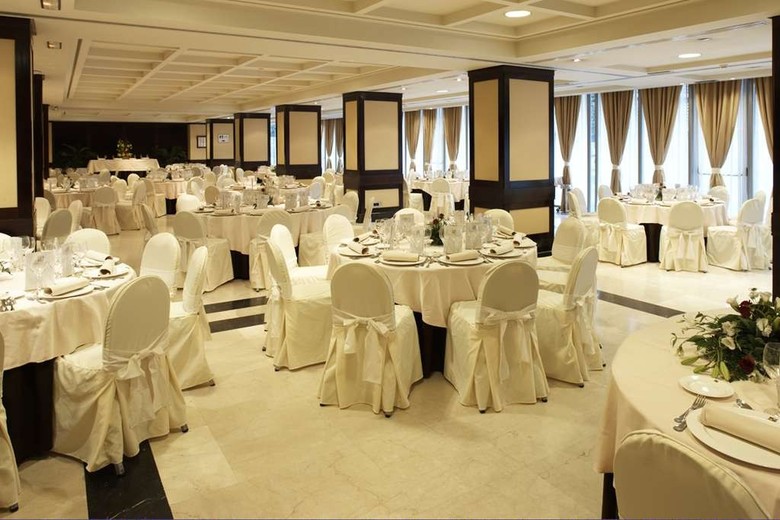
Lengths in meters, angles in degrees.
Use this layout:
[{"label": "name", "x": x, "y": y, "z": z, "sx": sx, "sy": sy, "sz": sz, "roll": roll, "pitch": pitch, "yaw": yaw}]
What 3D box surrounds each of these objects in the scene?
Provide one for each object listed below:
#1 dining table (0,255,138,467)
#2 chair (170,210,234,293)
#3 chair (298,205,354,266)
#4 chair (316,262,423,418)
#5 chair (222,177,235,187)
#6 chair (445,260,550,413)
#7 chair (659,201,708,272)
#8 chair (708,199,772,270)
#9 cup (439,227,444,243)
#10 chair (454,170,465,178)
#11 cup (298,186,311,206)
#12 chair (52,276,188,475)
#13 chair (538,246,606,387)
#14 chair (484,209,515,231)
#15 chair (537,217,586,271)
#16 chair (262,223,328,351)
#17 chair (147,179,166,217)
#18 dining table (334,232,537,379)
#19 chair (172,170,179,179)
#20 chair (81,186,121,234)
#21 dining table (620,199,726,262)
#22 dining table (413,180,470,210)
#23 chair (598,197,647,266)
[{"label": "dining table", "x": -2.596, "y": 0.749, "z": 4.366, "sx": 1.058, "sy": 0.933, "sz": 1.089, "roll": -3, "pitch": 9, "yaw": -22}, {"label": "chair", "x": -2.783, "y": -0.241, "z": 7.869, "sx": 0.811, "sy": 1.219, "sz": 0.878, "roll": -11, "pitch": 19, "yaw": -32}, {"label": "chair", "x": -0.930, "y": -0.327, "z": 7.333, "sx": 0.653, "sy": 1.011, "sz": 0.532, "roll": -9, "pitch": 20, "yaw": -40}, {"label": "chair", "x": -0.137, "y": 0.568, "z": 4.804, "sx": 0.815, "sy": 1.367, "sz": 0.930, "roll": 8, "pitch": 18, "yaw": 19}, {"label": "chair", "x": -4.177, "y": -2.012, "z": 13.637, "sx": 0.281, "sy": 0.418, "sz": 0.382, "roll": -4, "pitch": 6, "yaw": -26}, {"label": "chair", "x": 0.954, "y": 0.587, "z": 4.806, "sx": 0.810, "sy": 1.321, "sz": 0.883, "roll": -8, "pitch": 16, "yaw": -16}, {"label": "chair", "x": 4.730, "y": -0.496, "z": 8.484, "sx": 0.711, "sy": 1.177, "sz": 0.787, "roll": -2, "pitch": 19, "yaw": 22}, {"label": "chair", "x": 5.610, "y": -0.450, "z": 8.498, "sx": 0.636, "sy": 1.113, "sz": 0.741, "roll": -5, "pitch": 5, "yaw": -20}, {"label": "cup", "x": 0.527, "y": -0.277, "z": 5.468, "sx": 0.051, "sy": 0.059, "sz": 0.155, "roll": 13, "pitch": -21, "yaw": 5}, {"label": "chair", "x": 2.082, "y": -2.571, "z": 15.644, "sx": 0.266, "sy": 0.230, "sz": 0.290, "roll": 2, "pitch": 5, "yaw": 19}, {"label": "cup", "x": -1.446, "y": -1.066, "z": 8.843, "sx": 0.150, "sy": 0.268, "sz": 0.382, "roll": -1, "pitch": 15, "yaw": 0}, {"label": "chair", "x": -2.169, "y": 0.735, "z": 4.181, "sx": 0.976, "sy": 1.417, "sz": 1.030, "roll": 0, "pitch": 11, "yaw": -18}, {"label": "chair", "x": 1.627, "y": 0.428, "z": 5.151, "sx": 0.652, "sy": 1.094, "sz": 0.756, "roll": -18, "pitch": 16, "yaw": -36}, {"label": "chair", "x": 1.370, "y": -0.535, "z": 6.642, "sx": 0.320, "sy": 0.506, "sz": 0.394, "roll": 0, "pitch": 0, "yaw": 5}, {"label": "chair", "x": 2.010, "y": -0.107, "z": 6.321, "sx": 0.543, "sy": 0.781, "sz": 0.467, "roll": -4, "pitch": 7, "yaw": -18}, {"label": "chair", "x": -1.016, "y": 0.282, "z": 6.001, "sx": 0.642, "sy": 1.145, "sz": 0.715, "roll": -7, "pitch": 18, "yaw": -31}, {"label": "chair", "x": -6.711, "y": -1.835, "z": 14.926, "sx": 0.662, "sy": 1.055, "sz": 0.684, "roll": -5, "pitch": 15, "yaw": -32}, {"label": "dining table", "x": 0.722, "y": 0.642, "z": 5.311, "sx": 1.477, "sy": 1.030, "sz": 1.513, "roll": -13, "pitch": -13, "yaw": 41}, {"label": "chair", "x": -6.694, "y": -2.680, "z": 16.412, "sx": 0.297, "sy": 0.348, "sz": 0.227, "roll": 0, "pitch": 1, "yaw": -23}, {"label": "chair", "x": -6.498, "y": -1.203, "z": 12.043, "sx": 0.576, "sy": 1.099, "sz": 0.594, "roll": -7, "pitch": 20, "yaw": -31}, {"label": "dining table", "x": 4.845, "y": -0.775, "z": 9.273, "sx": 1.190, "sy": 0.815, "sz": 1.251, "roll": 6, "pitch": 15, "yaw": 35}, {"label": "dining table", "x": 1.268, "y": -1.622, "z": 12.916, "sx": 1.076, "sy": 0.776, "sz": 1.444, "roll": 0, "pitch": 5, "yaw": -10}, {"label": "chair", "x": 3.937, "y": -0.553, "z": 8.978, "sx": 0.677, "sy": 1.164, "sz": 0.711, "roll": -10, "pitch": 11, "yaw": -37}]
